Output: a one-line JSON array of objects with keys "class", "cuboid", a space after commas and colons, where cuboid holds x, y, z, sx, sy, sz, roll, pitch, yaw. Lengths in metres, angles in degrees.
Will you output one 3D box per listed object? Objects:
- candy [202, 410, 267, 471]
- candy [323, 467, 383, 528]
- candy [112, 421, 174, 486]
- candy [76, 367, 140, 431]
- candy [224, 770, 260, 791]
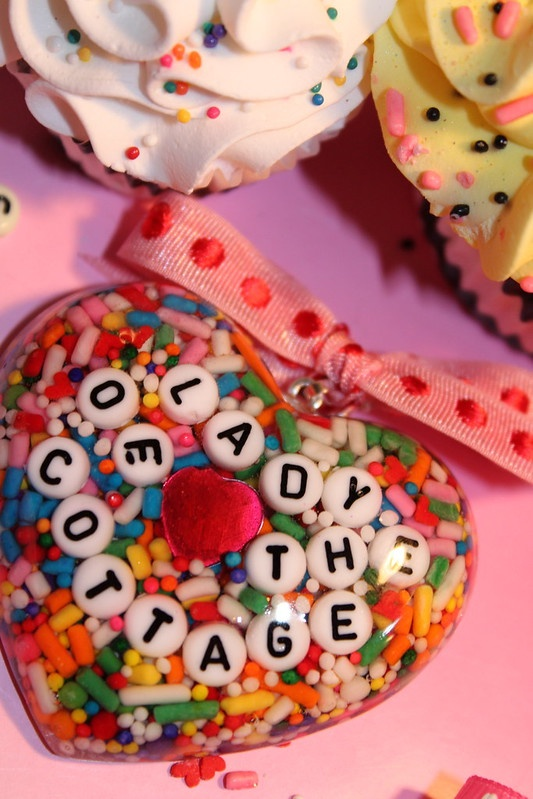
[{"class": "candy", "cuboid": [-0.042, 0.051, 0.972, 0.081, 0.030, 0.072, 15, 73, -9]}, {"class": "candy", "cuboid": [0.111, 0.129, 0.999, 0.081, 0.039, 0.071, 6, 73, -15]}, {"class": "candy", "cuboid": [-0.156, 0.070, 0.960, 0.074, 0.037, 0.075, -11, 58, -12]}, {"class": "candy", "cuboid": [-0.202, -0.001, 0.975, 0.071, 0.036, 0.070, -6, 57, -9]}, {"class": "candy", "cuboid": [-0.038, 0.582, 1.169, 0.051, 0.021, 0.024, 3, 89, -21]}]
